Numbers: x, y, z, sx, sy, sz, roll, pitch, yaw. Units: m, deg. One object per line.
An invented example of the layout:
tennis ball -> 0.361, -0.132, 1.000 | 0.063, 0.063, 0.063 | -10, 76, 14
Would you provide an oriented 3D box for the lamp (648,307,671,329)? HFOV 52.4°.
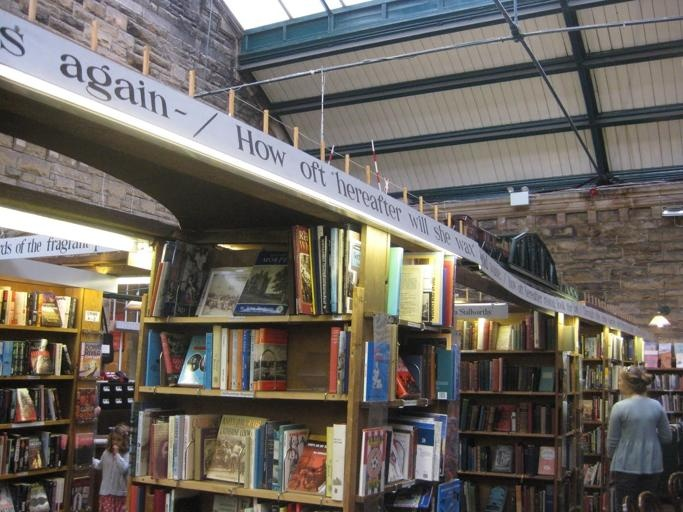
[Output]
lamp -> 5.915, 1.134, 12.800 | 0.428, 0.446, 0.441 | 1, -15, 4
